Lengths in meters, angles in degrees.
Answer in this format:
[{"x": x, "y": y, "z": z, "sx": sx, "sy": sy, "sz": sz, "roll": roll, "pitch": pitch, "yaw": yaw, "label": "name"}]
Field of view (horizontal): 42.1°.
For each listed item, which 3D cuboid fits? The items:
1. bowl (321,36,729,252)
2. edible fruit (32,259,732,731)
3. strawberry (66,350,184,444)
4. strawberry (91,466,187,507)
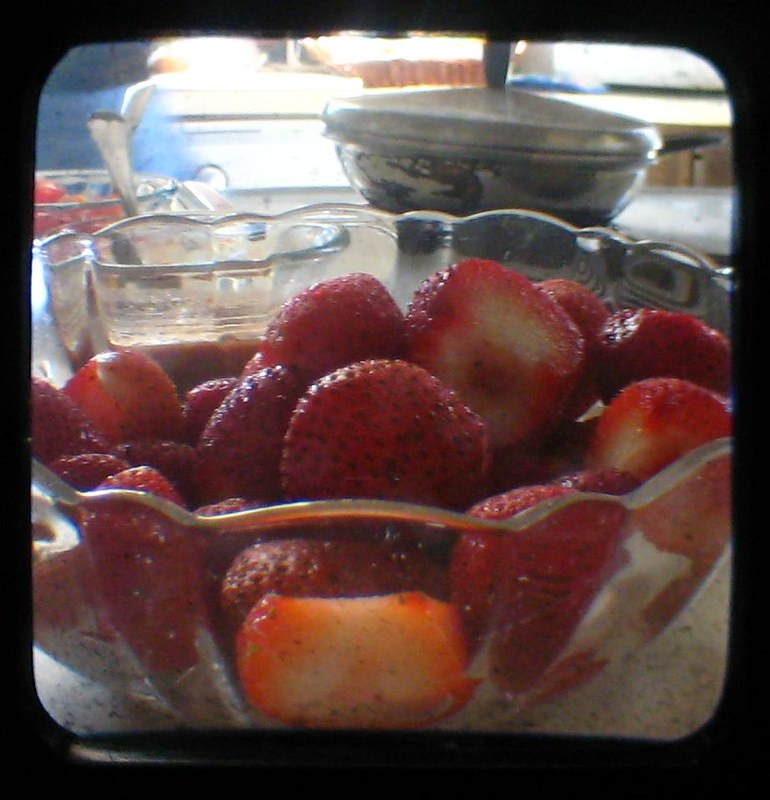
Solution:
[{"x": 0.070, "y": -0.131, "z": 0.566, "sx": 0.211, "sy": 0.071, "sz": 0.136, "roll": 7, "pitch": 12, "yaw": 23, "label": "bowl"}, {"x": 0.003, "y": 0.025, "z": 0.360, "sx": 0.252, "sy": 0.083, "sz": 0.166, "roll": -4, "pitch": 49, "yaw": -2, "label": "edible fruit"}, {"x": -0.104, "y": 0.004, "z": 0.397, "sx": 0.034, "sy": 0.025, "sz": 0.039, "roll": -24, "pitch": 83, "yaw": -19, "label": "strawberry"}, {"x": -0.082, "y": 0.027, "z": 0.328, "sx": 0.017, "sy": 0.020, "sz": 0.011, "roll": 15, "pitch": 94, "yaw": 27, "label": "strawberry"}]
